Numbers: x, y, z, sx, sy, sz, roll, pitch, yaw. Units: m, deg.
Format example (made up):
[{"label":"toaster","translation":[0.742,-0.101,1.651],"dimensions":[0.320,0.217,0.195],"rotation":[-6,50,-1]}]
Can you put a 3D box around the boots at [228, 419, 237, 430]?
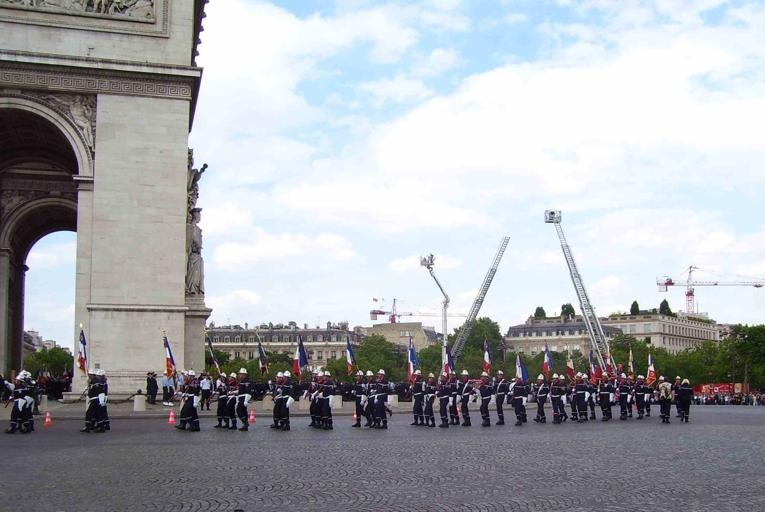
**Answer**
[{"label":"boots","translation":[-6.359,7.141,53.131],"dimensions":[0.302,0.465,1.044],"rotation":[-1,-10,-6]}]

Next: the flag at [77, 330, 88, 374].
[{"label":"flag","translation":[-14.546,4.561,60.643],"dimensions":[0.471,2.272,1.113],"rotation":[0,-12,-12]}]

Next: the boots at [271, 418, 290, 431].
[{"label":"boots","translation":[-4.321,7.129,53.082],"dimensions":[1.013,0.566,0.320],"rotation":[2,-6,21]}]

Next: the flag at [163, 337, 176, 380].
[{"label":"flag","translation":[-10.460,4.915,61.323],"dimensions":[0.619,2.087,1.130],"rotation":[0,-11,-9]}]

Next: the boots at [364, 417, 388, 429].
[{"label":"boots","translation":[-0.211,7.292,54.598],"dimensions":[1.124,0.637,0.362],"rotation":[-1,-6,27]}]
